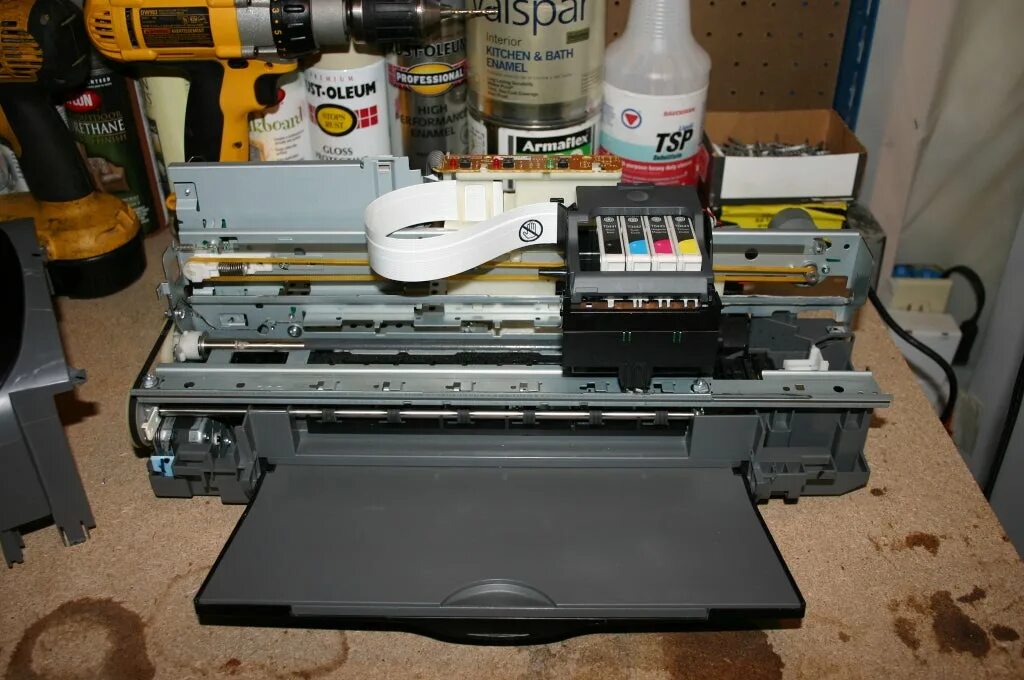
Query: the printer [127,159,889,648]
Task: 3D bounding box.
[{"bbox_3d":[-0.010,0.113,2.009,1.923,0.692,1.104,0,49,2],"label":"printer"}]
